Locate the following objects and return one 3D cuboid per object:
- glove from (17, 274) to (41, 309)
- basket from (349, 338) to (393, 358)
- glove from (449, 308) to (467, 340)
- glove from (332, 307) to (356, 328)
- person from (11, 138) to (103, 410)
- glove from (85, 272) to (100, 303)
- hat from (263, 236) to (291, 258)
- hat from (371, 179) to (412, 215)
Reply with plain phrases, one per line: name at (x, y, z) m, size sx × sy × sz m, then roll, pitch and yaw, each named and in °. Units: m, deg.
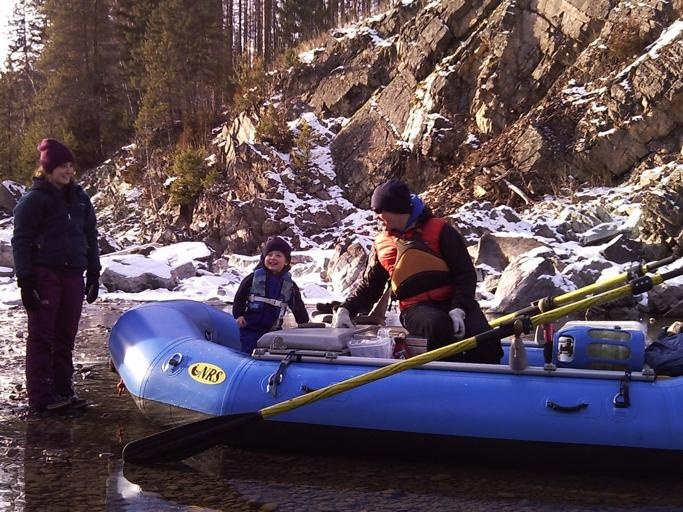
glove at (-2.731, 0.327, 5.854) m, size 0.168 × 0.287 × 0.081 m, roll -9°, pitch 3°, yaw -11°
basket at (0.233, 0.753, 5.426) m, size 0.259 × 0.112 × 0.187 m, roll -2°, pitch 0°, yaw 10°
glove at (0.937, 0.552, 5.300) m, size 0.181 × 0.212 × 0.070 m, roll 7°, pitch -22°, yaw -36°
glove at (0.011, 0.560, 5.791) m, size 0.130 × 0.184 × 0.088 m, roll -5°, pitch -16°, yaw 21°
person at (-2.622, 0.163, 6.137) m, size 0.656 × 2.409 × 0.778 m, roll 1°, pitch 8°, yaw -9°
glove at (-2.394, 0.328, 6.537) m, size 0.095 × 0.268 × 0.212 m, roll 0°, pitch -3°, yaw -39°
hat at (-0.602, -0.072, 6.343) m, size 0.184 × 0.178 × 0.235 m, roll 6°, pitch 10°, yaw 6°
hat at (0.423, -0.460, 5.734) m, size 0.326 × 0.251 × 0.288 m, roll 17°, pitch -5°, yaw -38°
